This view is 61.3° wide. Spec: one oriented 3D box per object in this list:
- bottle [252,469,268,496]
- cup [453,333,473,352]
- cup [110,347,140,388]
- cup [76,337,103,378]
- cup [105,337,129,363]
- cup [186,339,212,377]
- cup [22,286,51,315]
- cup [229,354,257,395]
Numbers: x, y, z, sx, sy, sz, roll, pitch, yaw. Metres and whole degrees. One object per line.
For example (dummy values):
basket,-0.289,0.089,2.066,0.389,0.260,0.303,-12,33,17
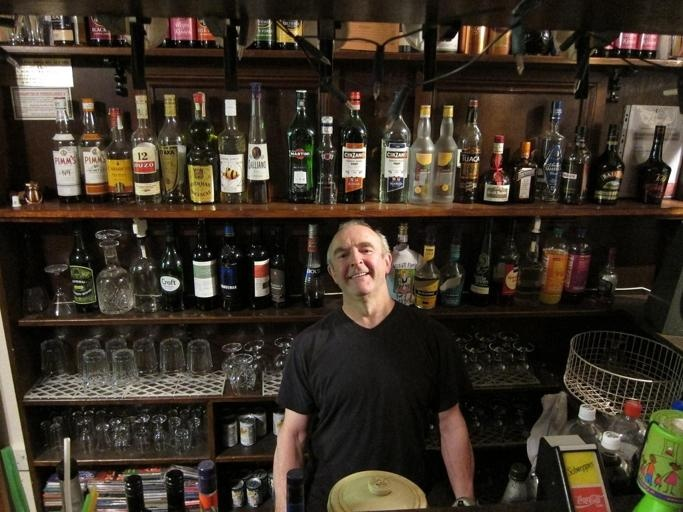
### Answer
bottle,-0.343,1.007,2.579,0.100,0.096,0.092,-2,15,-8
cup,0.530,0.385,2.573,0.119,0.077,0.111,0,3,0
cup,-0.965,0.477,2.507,0.156,0.156,0.149,7,-2,0
cup,-1.078,0.441,2.561,0.155,0.150,0.146,-6,3,0
cup,-0.981,0.410,2.539,0.112,0.093,0.104,0,2,0
cup,-0.618,0.452,2.543,0.145,0.127,0.142,0,3,0
cup,-1.284,0.188,2.424,0.115,0.151,0.116,2,-1,0
cup,-0.427,0.522,2.494,0.150,0.175,0.138,9,4,-1
